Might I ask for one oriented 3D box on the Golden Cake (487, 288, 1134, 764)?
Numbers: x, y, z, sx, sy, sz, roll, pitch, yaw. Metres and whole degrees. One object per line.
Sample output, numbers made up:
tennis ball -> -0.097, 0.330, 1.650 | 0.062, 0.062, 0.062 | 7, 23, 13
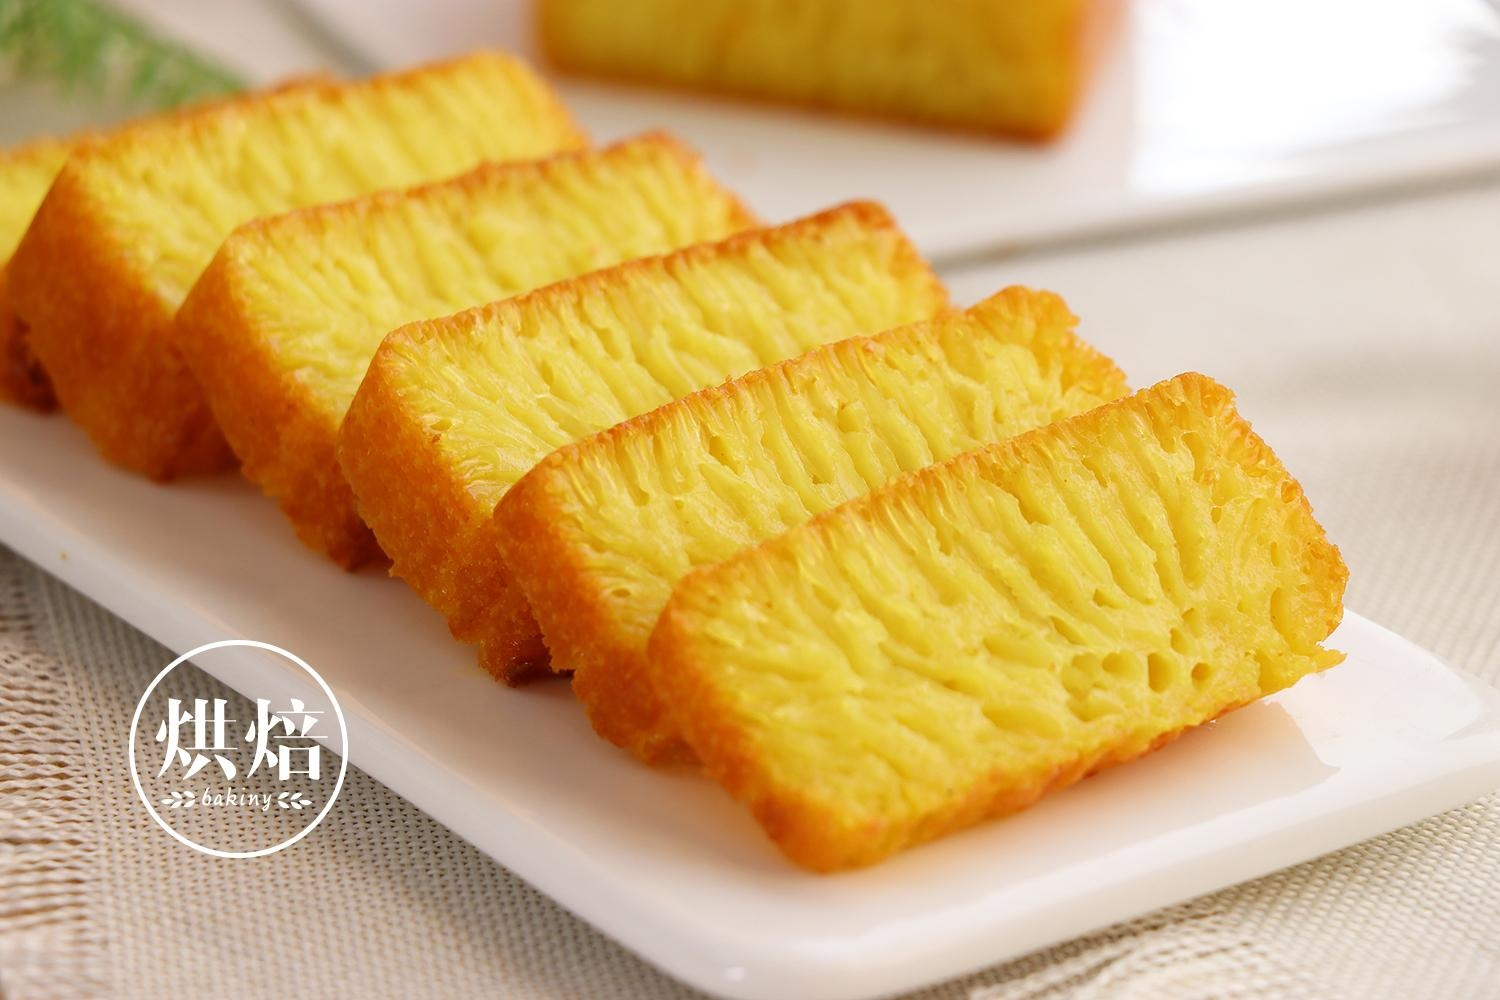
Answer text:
Golden Cake -> 0.032, -0.043, 1.746 | 0.960, 0.223, 0.471 | -24, 54, -28

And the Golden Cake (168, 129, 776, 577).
Golden Cake -> -0.373, -0.205, 2.134 | 0.719, 0.188, 0.499 | -16, 50, -25

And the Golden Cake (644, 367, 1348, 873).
Golden Cake -> 0.290, 0.123, 1.655 | 0.768, 0.206, 0.338 | -23, 60, -13

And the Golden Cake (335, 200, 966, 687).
Golden Cake -> -0.194, -0.181, 2.178 | 0.814, 0.546, 0.785 | -15, 31, -23
